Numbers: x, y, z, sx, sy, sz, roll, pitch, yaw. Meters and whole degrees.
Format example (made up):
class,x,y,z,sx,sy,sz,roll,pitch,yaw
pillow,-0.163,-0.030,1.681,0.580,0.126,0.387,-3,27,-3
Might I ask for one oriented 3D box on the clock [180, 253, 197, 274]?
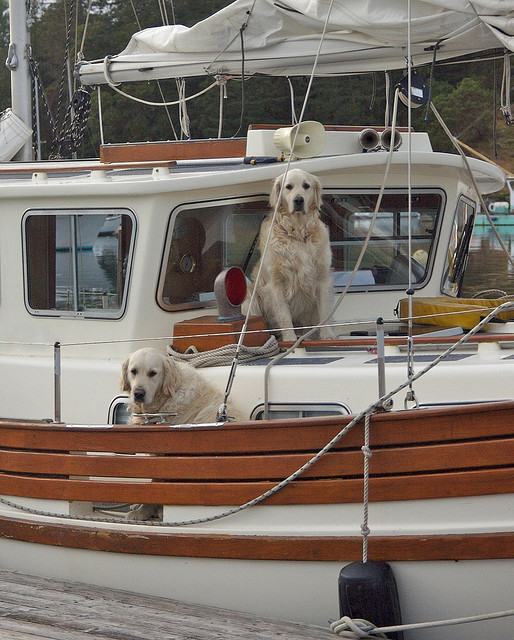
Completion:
class,x,y,z,sx,sy,sz,roll,pitch,yaw
clock,-0.439,-0.363,9.040,0.027,0.106,0.118,6,5,42

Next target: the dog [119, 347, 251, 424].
class,x,y,z,sx,sy,sz,roll,pitch,yaw
dog,-0.557,0.370,8.535,0.373,0.412,1.054,7,5,16

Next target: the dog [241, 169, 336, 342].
class,x,y,z,sx,sy,sz,roll,pitch,yaw
dog,0.194,-0.432,9.189,0.628,1.056,0.566,0,8,-11
